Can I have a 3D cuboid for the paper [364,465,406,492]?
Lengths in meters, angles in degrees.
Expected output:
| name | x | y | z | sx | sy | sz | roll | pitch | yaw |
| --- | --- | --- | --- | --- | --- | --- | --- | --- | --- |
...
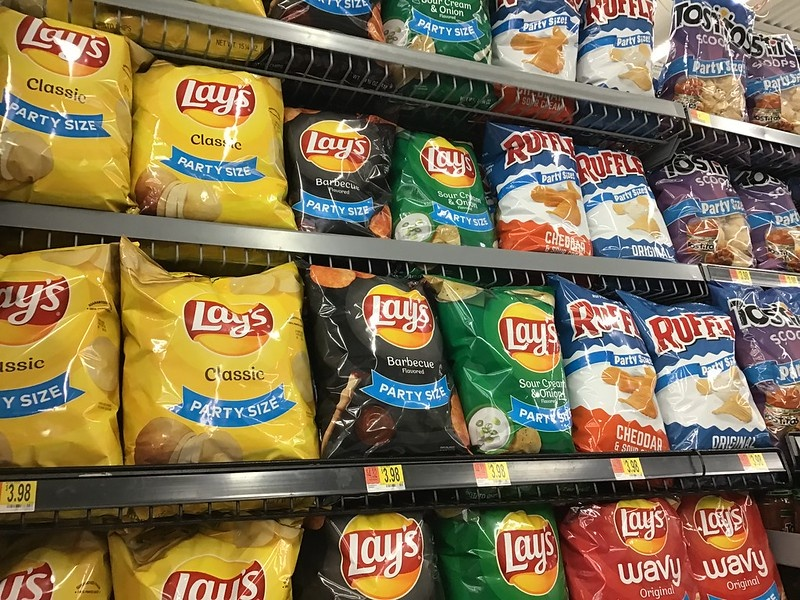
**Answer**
| name | x | y | z | sx | sy | sz | roll | pitch | yaw |
| --- | --- | --- | --- | --- | --- | --- | --- | --- | --- |
| paper | -0.040 | 0.423 | 1.467 | 0.079 | 0.005 | 0.051 | 5 | 57 | -25 |
